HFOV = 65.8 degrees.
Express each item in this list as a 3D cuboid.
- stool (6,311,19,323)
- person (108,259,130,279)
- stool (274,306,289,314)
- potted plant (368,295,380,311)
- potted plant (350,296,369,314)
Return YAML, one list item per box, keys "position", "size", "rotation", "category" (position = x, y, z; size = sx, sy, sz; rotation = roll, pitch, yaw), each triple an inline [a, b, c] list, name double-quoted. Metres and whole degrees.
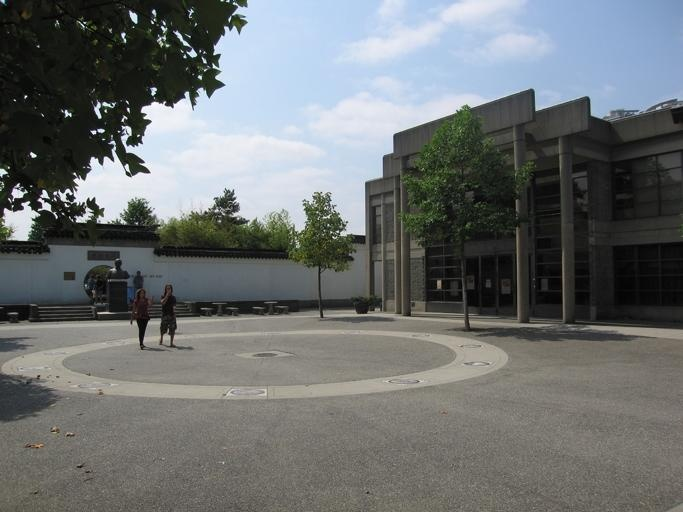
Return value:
- position: [-17.770, 3.360, 28.578]
  size: [0.724, 0.699, 0.689]
  rotation: [3, -8, -33]
  category: "stool"
- position: [-13.925, 0.853, 33.014]
  size: [1.100, 1.131, 0.640]
  rotation: [-1, 11, -13]
  category: "person"
- position: [-4.115, 3.740, 36.768]
  size: [0.609, 0.505, 1.551]
  rotation: [0, -5, -21]
  category: "stool"
- position: [2.064, 3.161, 35.345]
  size: [1.009, 1.433, 1.300]
  rotation: [-1, -4, 6]
  category: "potted plant"
- position: [1.223, 3.265, 34.523]
  size: [0.976, 0.802, 0.991]
  rotation: [-5, -7, 41]
  category: "potted plant"
